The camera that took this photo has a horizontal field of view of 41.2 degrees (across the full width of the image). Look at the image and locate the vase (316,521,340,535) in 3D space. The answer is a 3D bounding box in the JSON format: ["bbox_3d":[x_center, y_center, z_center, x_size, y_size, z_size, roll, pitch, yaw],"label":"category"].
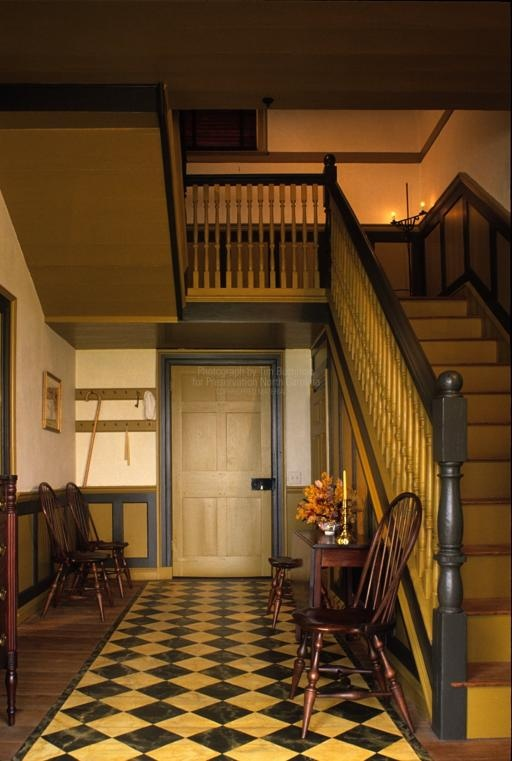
[{"bbox_3d":[0.425,0.853,3.998,0.084,0.060,0.096,2,-4,3],"label":"vase"}]

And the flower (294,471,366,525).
[{"bbox_3d":[0.458,0.719,4.220,0.370,0.471,0.404,3,-1,-17],"label":"flower"}]
